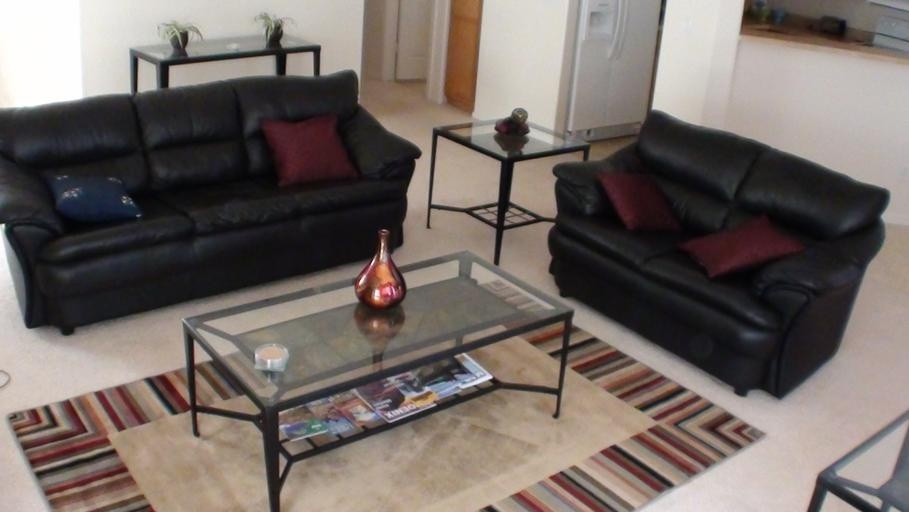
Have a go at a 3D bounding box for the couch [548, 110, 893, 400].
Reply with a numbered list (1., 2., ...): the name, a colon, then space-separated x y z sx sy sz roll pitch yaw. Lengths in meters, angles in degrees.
1. couch: 1.869 -0.126 5.221 1.325 1.223 2.167 -31 43 -29

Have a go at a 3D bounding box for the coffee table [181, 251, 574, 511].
1. coffee table: -0.428 0.705 4.324 2.110 0.857 1.058 -14 34 -23

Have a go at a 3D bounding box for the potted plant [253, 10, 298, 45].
1. potted plant: -2.025 -2.457 7.454 0.532 0.302 0.475 7 19 6

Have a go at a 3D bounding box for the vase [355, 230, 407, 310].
1. vase: -0.473 0.087 4.362 0.384 0.474 0.352 -9 26 -34

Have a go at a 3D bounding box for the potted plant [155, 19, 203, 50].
1. potted plant: -2.841 -2.267 7.060 0.491 0.237 0.444 11 22 11

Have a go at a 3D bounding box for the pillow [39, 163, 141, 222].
1. pillow: -2.586 -0.414 4.867 0.515 0.288 0.368 -15 35 -23
